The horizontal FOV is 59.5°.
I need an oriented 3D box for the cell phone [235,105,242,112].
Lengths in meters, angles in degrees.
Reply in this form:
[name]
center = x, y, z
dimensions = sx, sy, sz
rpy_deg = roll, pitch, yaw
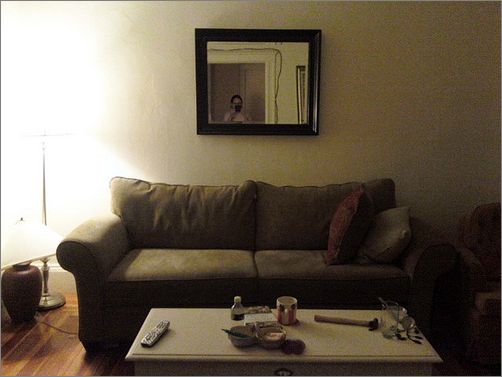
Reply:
[cell phone]
center = -0.114, -0.713, 3.913
dimensions = 0.072, 0.068, 0.039
rpy_deg = 1, 16, 2

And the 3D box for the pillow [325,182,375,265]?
[pillow]
center = 0.569, 0.245, 3.376
dimensions = 0.386, 0.566, 0.677
rpy_deg = 1, 5, 8

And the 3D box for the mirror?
[mirror]
center = 0.056, -0.932, 3.877
dimensions = 1.096, 0.910, 0.118
rpy_deg = 1, 13, 0

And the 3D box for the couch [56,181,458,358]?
[couch]
center = 0.039, 0.574, 3.093
dimensions = 2.350, 0.982, 1.106
rpy_deg = 0, 6, -2

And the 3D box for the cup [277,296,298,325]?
[cup]
center = 0.208, 0.722, 2.571
dimensions = 0.125, 0.124, 0.162
rpy_deg = 0, 4, 5
